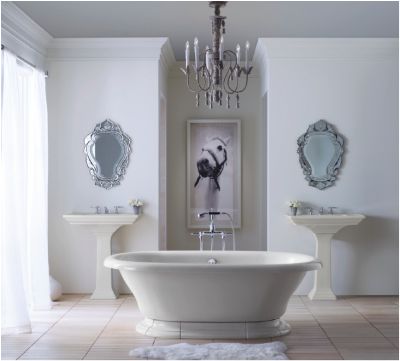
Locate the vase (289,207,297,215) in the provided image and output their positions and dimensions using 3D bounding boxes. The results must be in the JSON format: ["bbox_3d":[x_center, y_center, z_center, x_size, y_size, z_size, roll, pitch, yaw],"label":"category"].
[{"bbox_3d":[1.048,0.343,4.477,0.086,0.086,0.082,4,-5,-21],"label":"vase"}]

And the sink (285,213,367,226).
[{"bbox_3d":[1.348,0.436,4.271,0.771,0.144,0.157,0,2,3],"label":"sink"}]

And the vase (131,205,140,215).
[{"bbox_3d":[-0.708,0.327,4.444,0.088,0.085,0.090,-5,-7,35],"label":"vase"}]

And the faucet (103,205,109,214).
[{"bbox_3d":[-1.061,0.342,4.512,0.064,0.119,0.071,0,-4,-6],"label":"faucet"}]

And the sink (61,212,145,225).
[{"bbox_3d":[-1.060,0.428,4.313,0.801,0.119,0.159,0,2,-2],"label":"sink"}]

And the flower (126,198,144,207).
[{"bbox_3d":[-0.723,0.250,4.501,0.162,0.090,0.121,0,1,1],"label":"flower"}]

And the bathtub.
[{"bbox_3d":[0.106,0.919,3.574,1.817,0.535,0.928,0,1,3],"label":"bathtub"}]

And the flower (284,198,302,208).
[{"bbox_3d":[1.049,0.260,4.469,0.182,0.102,0.164,1,1,12],"label":"flower"}]
